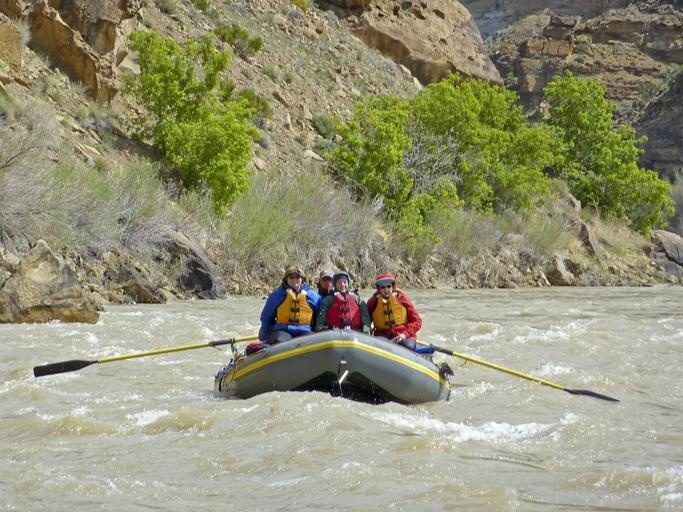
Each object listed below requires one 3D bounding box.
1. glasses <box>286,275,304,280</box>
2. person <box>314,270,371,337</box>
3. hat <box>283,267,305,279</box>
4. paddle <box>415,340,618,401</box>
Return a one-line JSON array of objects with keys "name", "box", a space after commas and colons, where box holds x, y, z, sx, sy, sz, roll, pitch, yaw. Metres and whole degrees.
[{"name": "glasses", "box": [-1.081, 0.497, 29.046, 0.392, 0.120, 0.091, 5, 8, -19]}, {"name": "person", "box": [0.019, 1.329, 29.172, 1.151, 1.938, 1.023, 2, -27, -12]}, {"name": "hat", "box": [-1.121, 0.405, 29.138, 0.402, 0.306, 0.344, -4, -3, 10]}, {"name": "paddle", "box": [4.212, 2.838, 30.203, 3.410, 0.440, 0.220, 15, 49, 13]}]
